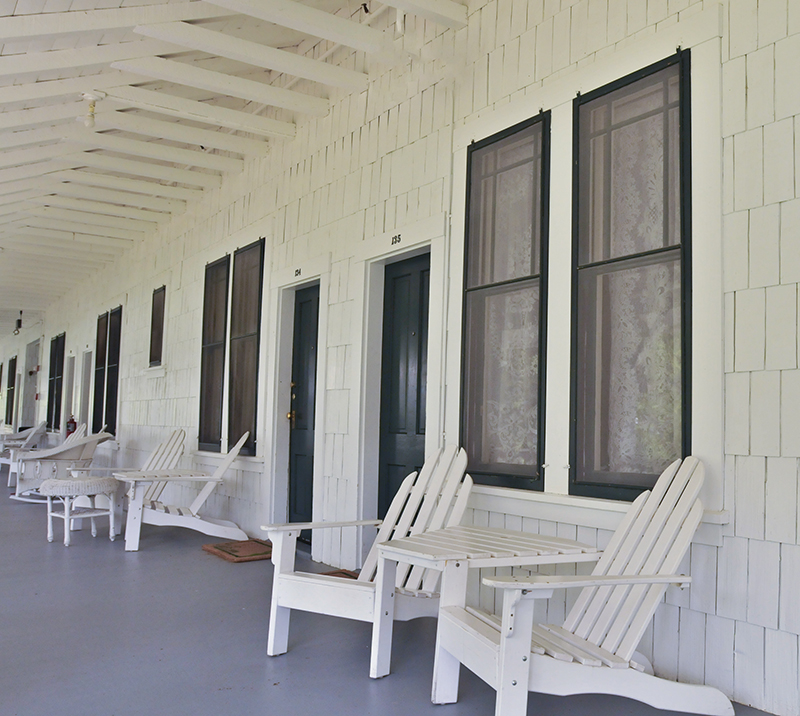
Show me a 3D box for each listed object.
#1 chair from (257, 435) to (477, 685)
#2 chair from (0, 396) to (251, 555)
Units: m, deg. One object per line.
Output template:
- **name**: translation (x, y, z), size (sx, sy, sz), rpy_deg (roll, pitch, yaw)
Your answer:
- **chair**: translation (-0.150, 0.946, 3.739), size (0.780, 1.134, 1.100), rpy_deg (-7, -10, 45)
- **chair**: translation (-2.623, 1.174, 7.313), size (1.845, 0.968, 3.174), rpy_deg (1, -3, -25)
